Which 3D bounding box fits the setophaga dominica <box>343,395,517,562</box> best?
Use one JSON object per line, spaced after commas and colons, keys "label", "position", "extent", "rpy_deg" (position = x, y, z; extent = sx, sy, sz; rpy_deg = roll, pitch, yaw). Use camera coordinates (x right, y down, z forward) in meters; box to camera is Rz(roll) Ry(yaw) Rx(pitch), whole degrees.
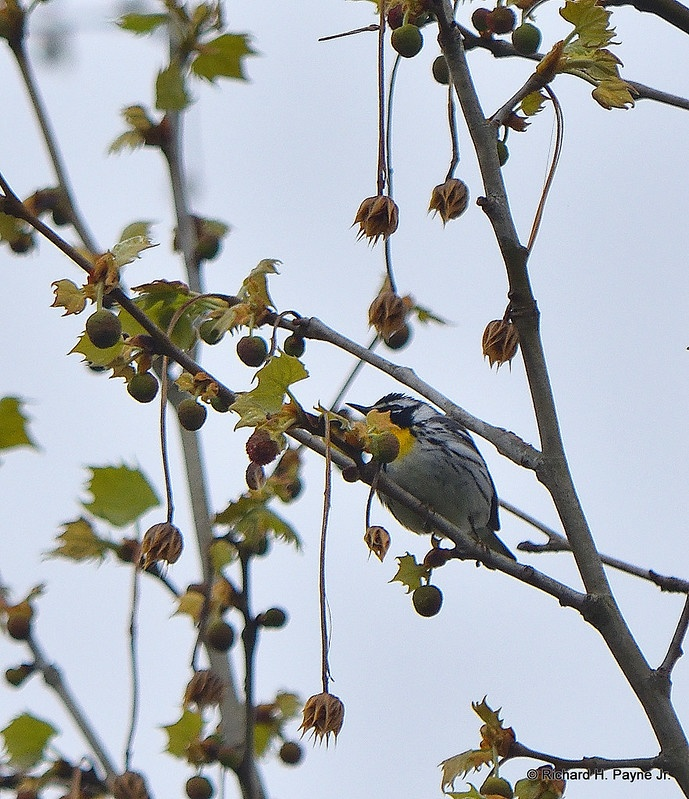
{"label": "setophaga dominica", "position": [0.319, 0.226, 6.228], "extent": [0.358, 0.722, 0.627], "rpy_deg": [-10, -97, 31]}
